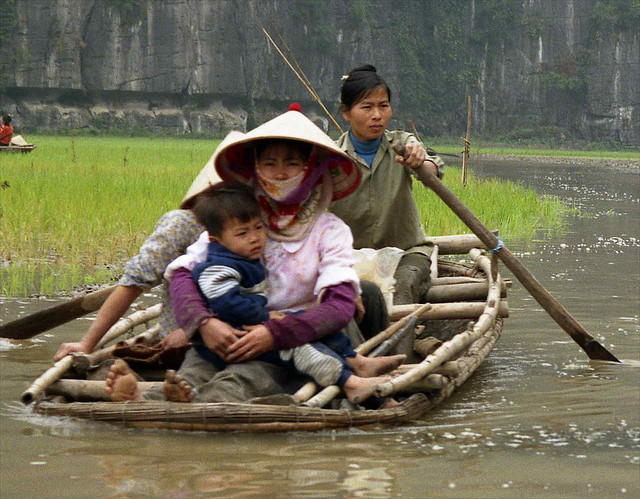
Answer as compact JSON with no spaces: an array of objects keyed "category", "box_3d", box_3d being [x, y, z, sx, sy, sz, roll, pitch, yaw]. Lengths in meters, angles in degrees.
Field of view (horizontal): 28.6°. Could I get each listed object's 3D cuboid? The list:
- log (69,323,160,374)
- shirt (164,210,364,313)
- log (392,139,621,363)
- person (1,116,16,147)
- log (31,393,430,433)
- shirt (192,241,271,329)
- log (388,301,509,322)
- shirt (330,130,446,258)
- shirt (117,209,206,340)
[{"category":"log","box_3d":[-3.094,1.449,17.841,1.166,0.660,0.714,-5,9,-14]},{"category":"shirt","box_3d":[-0.474,0.143,17.840,2.642,1.670,1.568,2,10,29]},{"category":"log","box_3d":[2.799,-0.049,19.997,0.838,0.488,9.746,44,5,-22]},{"category":"person","box_3d":[-7.729,-2.877,30.773,0.255,0.753,1.262,-1,3,-14]},{"category":"log","box_3d":[-1.180,2.229,16.995,4.982,0.414,0.324,0,3,-2]},{"category":"shirt","box_3d":[-1.231,0.480,17.160,1.002,1.145,0.219,-1,3,-8]},{"category":"log","box_3d":[1.801,0.875,18.044,1.718,0.220,0.235,-2,-7,-4]},{"category":"shirt","box_3d":[0.721,-0.741,18.542,2.239,2.196,1.686,0,10,7]},{"category":"shirt","box_3d":[-2.278,0.296,17.757,1.095,1.841,1.216,-12,15,-43]}]
